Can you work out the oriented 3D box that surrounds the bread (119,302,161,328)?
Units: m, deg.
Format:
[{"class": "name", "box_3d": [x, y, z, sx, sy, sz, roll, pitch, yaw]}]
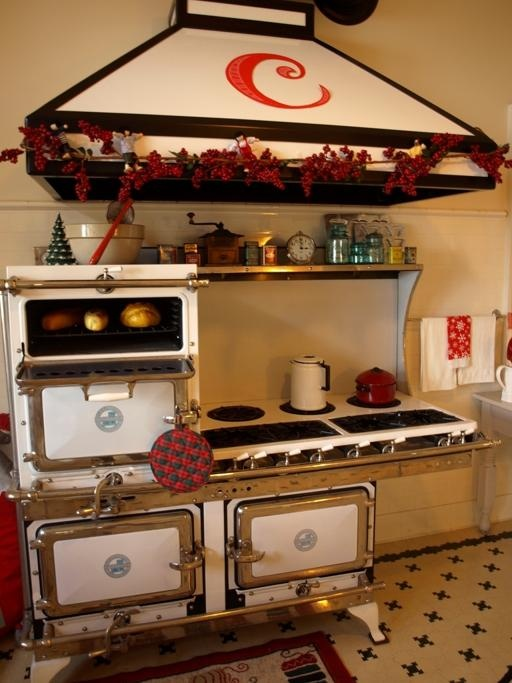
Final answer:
[{"class": "bread", "box_3d": [-0.393, -0.096, 2.011, 0.106, 0.052, 0.097, -1, 9, -11]}]

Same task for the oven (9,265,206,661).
[{"class": "oven", "box_3d": [-0.488, 0.351, 1.978, 0.597, 1.200, 0.448, -4, 10, -20]}]

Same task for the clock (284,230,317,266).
[{"class": "clock", "box_3d": [0.188, -0.396, 2.526, 0.106, 0.138, 0.095, -9, 12, -41]}]

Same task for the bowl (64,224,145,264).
[{"class": "bowl", "box_3d": [-0.489, -0.315, 1.924, 0.250, 0.131, 0.206, -2, 9, -11]}]

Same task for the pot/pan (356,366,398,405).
[{"class": "pot/pan", "box_3d": [0.516, 0.205, 2.650, 0.214, 0.129, 0.162, -7, 10, -36]}]

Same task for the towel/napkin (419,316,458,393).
[{"class": "towel/napkin", "box_3d": [0.893, 0.080, 2.993, 0.224, 0.400, 0.118, -7, 11, -34]}]

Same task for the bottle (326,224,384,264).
[{"class": "bottle", "box_3d": [0.430, -0.421, 2.596, 0.232, 0.137, 0.083, -1, 3, -14]}]

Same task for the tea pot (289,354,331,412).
[{"class": "tea pot", "box_3d": [0.214, 0.179, 2.502, 0.249, 0.237, 0.179, -1, 8, -6]}]

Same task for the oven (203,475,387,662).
[{"class": "oven", "box_3d": [0.092, 0.793, 2.301, 0.695, 0.534, 0.591, 0, -1, -11]}]

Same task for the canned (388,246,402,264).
[{"class": "canned", "box_3d": [0.616, -0.384, 2.640, 0.090, 0.075, 0.058, -1, 3, -8]}]

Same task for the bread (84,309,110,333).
[{"class": "bread", "box_3d": [-0.531, -0.072, 1.986, 0.078, 0.063, 0.072, 2, -4, -3]}]

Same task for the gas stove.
[{"class": "gas stove", "box_3d": [0.300, 0.341, 2.348, 1.077, 0.069, 0.524, -3, 9, -19]}]

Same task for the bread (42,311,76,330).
[{"class": "bread", "box_3d": [-0.649, -0.065, 1.954, 0.050, 0.047, 0.106, -4, 4, 23]}]
